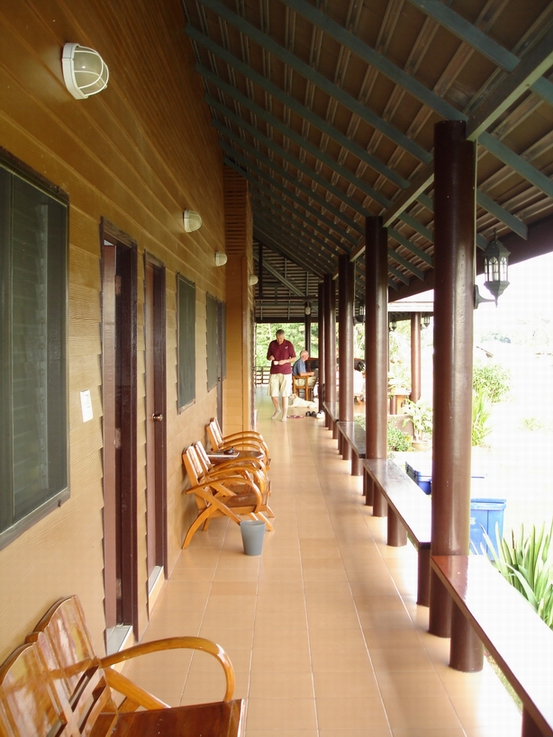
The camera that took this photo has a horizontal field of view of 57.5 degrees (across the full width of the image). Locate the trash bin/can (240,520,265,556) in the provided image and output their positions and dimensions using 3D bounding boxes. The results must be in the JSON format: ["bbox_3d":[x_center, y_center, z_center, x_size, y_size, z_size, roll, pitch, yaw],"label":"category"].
[{"bbox_3d":[-0.210,1.470,4.378,0.237,0.299,0.228,4,-7,-35],"label":"trash bin/can"}]

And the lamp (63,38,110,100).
[{"bbox_3d":[-0.602,-0.935,1.619,0.049,0.146,0.179,6,16,29],"label":"lamp"}]

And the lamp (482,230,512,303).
[{"bbox_3d":[1.406,-0.611,3.180,0.154,0.352,0.164,-2,0,9],"label":"lamp"}]

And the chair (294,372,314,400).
[{"bbox_3d":[0.883,0.591,16.369,0.603,1.298,0.797,1,12,8],"label":"chair"}]

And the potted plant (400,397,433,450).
[{"bbox_3d":[3.263,1.460,11.515,0.779,1.435,1.263,-2,3,10],"label":"potted plant"}]
